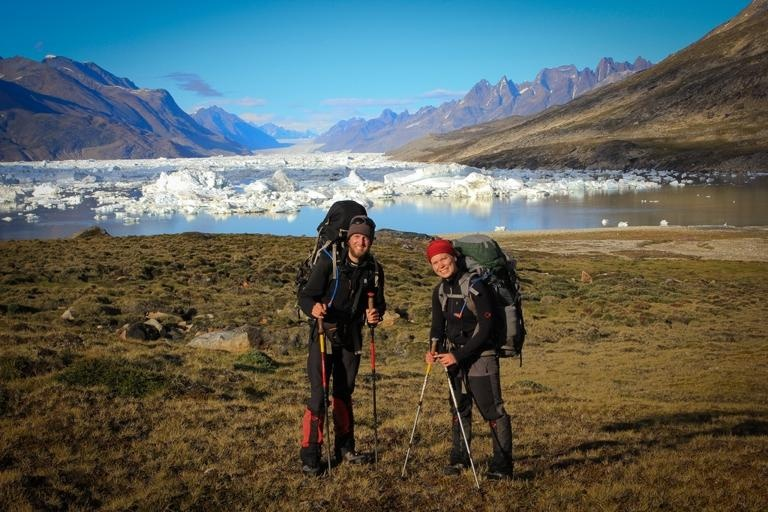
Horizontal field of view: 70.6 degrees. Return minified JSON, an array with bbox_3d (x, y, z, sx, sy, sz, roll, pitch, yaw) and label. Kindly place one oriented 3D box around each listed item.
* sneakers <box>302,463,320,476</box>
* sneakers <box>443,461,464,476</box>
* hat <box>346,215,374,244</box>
[{"bbox_3d":[-1.565,4.671,11.904,0.339,0.173,0.239,1,-10,12],"label":"sneakers"},{"bbox_3d":[1.575,4.733,12.108,0.497,0.176,0.200,3,-3,-30],"label":"sneakers"},{"bbox_3d":[-0.428,-0.558,11.751,0.561,0.569,0.576,3,-7,1],"label":"hat"}]
